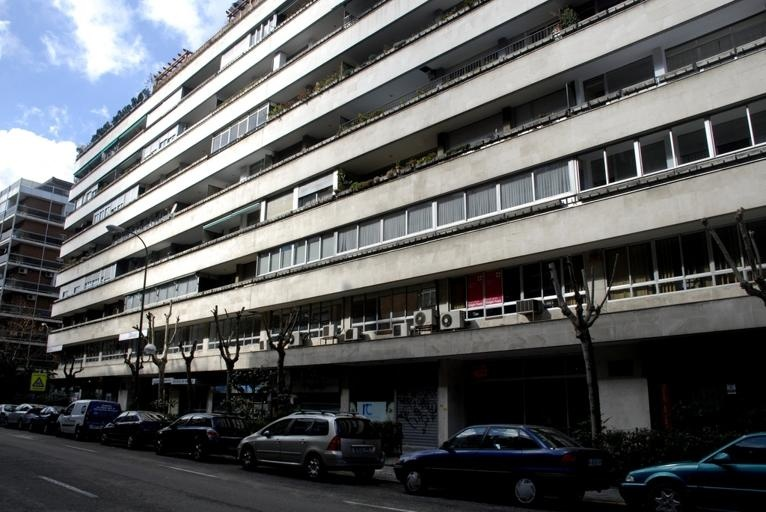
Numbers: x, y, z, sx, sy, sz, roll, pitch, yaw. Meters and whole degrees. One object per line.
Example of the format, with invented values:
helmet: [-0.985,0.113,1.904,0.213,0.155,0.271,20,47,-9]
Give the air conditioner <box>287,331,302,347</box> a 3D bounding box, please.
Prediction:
air conditioner: [-4.625,4.358,35.720,0.624,1.027,1.185,1,-18,-13]

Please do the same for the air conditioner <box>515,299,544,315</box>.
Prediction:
air conditioner: [5.949,2.088,27.719,1.079,0.607,0.705,-5,-13,31]

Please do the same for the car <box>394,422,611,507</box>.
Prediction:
car: [3.742,6.720,21.514,6.702,2.432,2.857,-8,-11,42]
